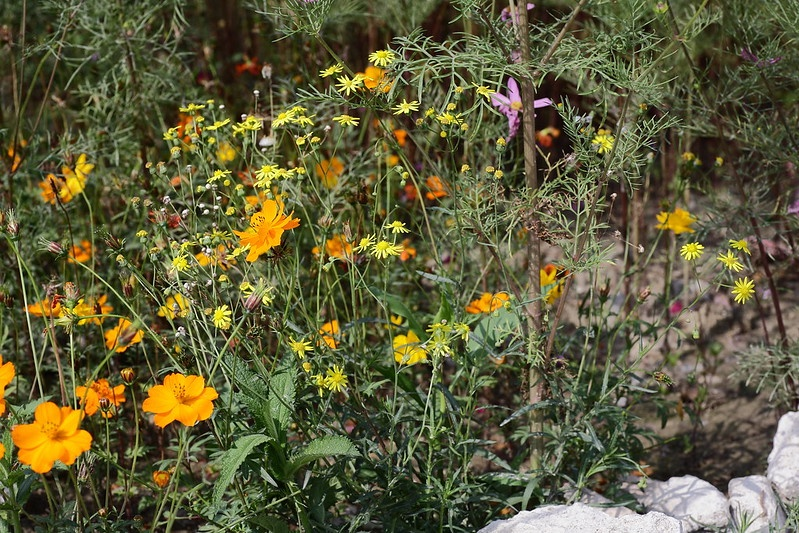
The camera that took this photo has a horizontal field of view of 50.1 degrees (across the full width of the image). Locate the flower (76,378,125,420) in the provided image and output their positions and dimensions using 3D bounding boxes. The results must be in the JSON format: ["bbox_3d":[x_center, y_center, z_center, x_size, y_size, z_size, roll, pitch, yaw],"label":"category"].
[{"bbox_3d":[-0.968,0.432,2.763,0.135,0.076,0.153,13,22,-1],"label":"flower"}]

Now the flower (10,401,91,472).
[{"bbox_3d":[-1.020,0.496,2.509,0.194,0.234,0.057,0,-15,3],"label":"flower"}]

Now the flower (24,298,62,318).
[{"bbox_3d":[-1.188,0.134,2.856,0.086,0.039,0.096,-3,2,2],"label":"flower"}]
